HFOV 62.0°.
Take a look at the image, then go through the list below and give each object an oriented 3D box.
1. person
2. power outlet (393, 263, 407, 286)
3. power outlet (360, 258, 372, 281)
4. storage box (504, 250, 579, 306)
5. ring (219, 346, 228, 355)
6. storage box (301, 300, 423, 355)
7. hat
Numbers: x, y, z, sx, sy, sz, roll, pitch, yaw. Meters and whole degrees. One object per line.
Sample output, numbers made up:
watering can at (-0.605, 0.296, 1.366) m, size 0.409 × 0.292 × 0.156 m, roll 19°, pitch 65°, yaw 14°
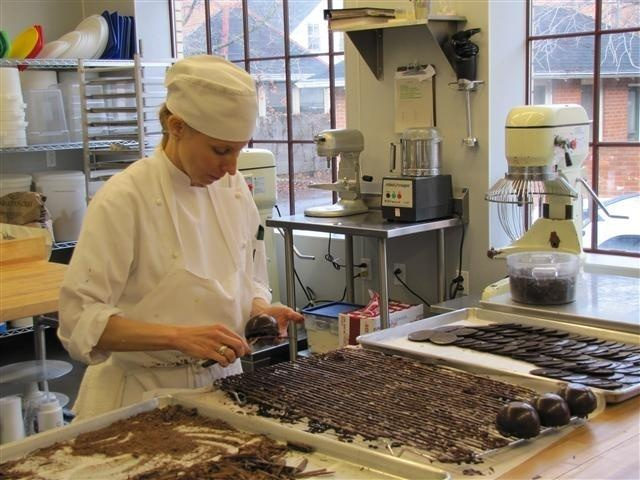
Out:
person at (-0.443, 0.020, 1.661) m, size 0.750 × 1.153 × 0.583 m, roll -9°, pitch 13°, yaw -25°
power outlet at (0.537, 0.234, 3.676) m, size 0.042 × 0.160 × 0.112 m, roll -15°, pitch 16°, yaw -41°
power outlet at (0.315, 0.207, 3.798) m, size 0.096 × 0.159 × 0.057 m, roll 3°, pitch 14°, yaw 29°
storage box at (0.924, 0.152, 2.212) m, size 0.302 × 0.164 × 0.279 m, roll -6°, pitch 7°, yaw -9°
ring at (-0.270, 0.301, 1.469) m, size 0.021 × 0.019 × 0.020 m, roll 8°, pitch 23°, yaw -4°
storage box at (0.235, 0.515, 3.293) m, size 0.403 × 0.191 × 0.605 m, roll 3°, pitch 4°, yaw 45°
hat at (-0.341, -0.430, 1.628) m, size 0.285 × 0.268 × 0.201 m, roll -5°, pitch 12°, yaw -10°
